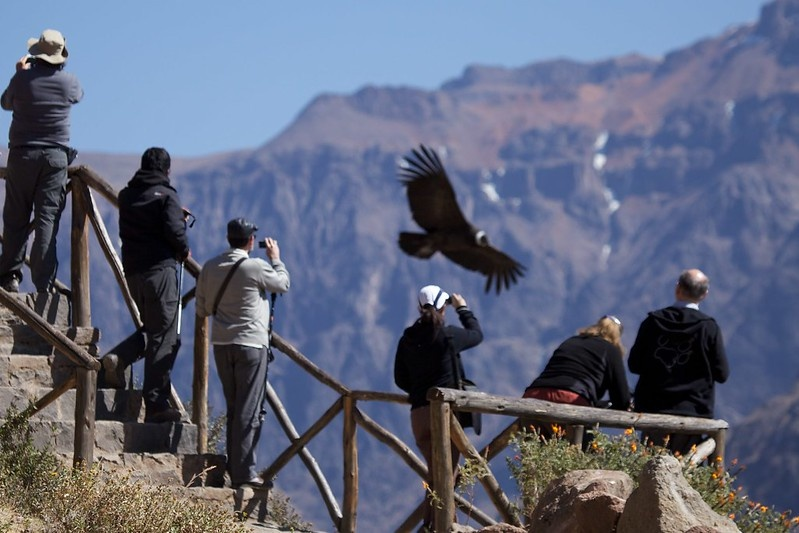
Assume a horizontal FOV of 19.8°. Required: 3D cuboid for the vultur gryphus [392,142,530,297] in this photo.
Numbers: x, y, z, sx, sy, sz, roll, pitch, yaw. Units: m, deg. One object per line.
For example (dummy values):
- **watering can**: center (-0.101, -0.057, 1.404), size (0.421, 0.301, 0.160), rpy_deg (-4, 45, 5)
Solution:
- **vultur gryphus**: center (2.842, -2.562, 107.390), size (5.459, 7.160, 5.599), rpy_deg (3, -5, 16)
